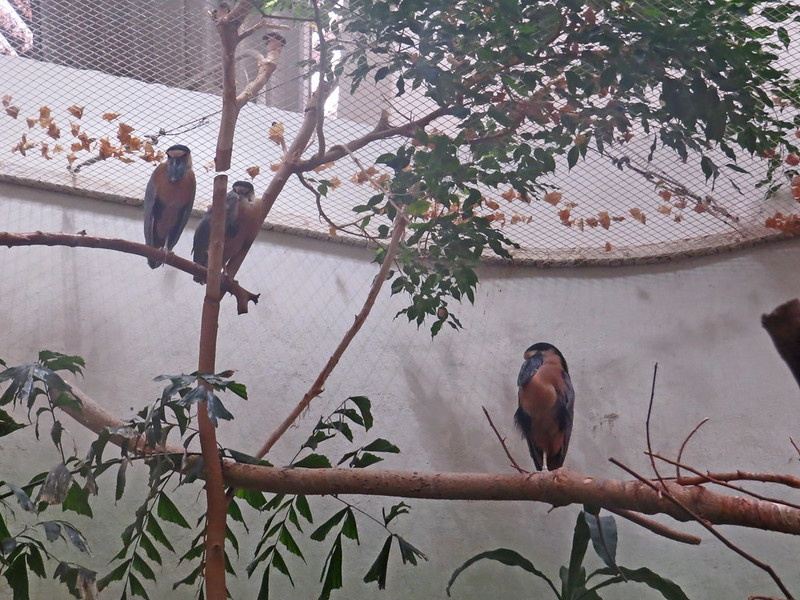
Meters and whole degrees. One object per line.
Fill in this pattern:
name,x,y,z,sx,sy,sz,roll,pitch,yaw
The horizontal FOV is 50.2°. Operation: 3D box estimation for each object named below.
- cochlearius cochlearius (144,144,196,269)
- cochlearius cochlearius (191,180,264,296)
cochlearius cochlearius,-1.028,-0.439,3.802,0.188,0.486,0.501,9,-16,-22
cochlearius cochlearius,-0.760,-0.307,3.698,0.324,0.487,0.225,-8,-29,10
